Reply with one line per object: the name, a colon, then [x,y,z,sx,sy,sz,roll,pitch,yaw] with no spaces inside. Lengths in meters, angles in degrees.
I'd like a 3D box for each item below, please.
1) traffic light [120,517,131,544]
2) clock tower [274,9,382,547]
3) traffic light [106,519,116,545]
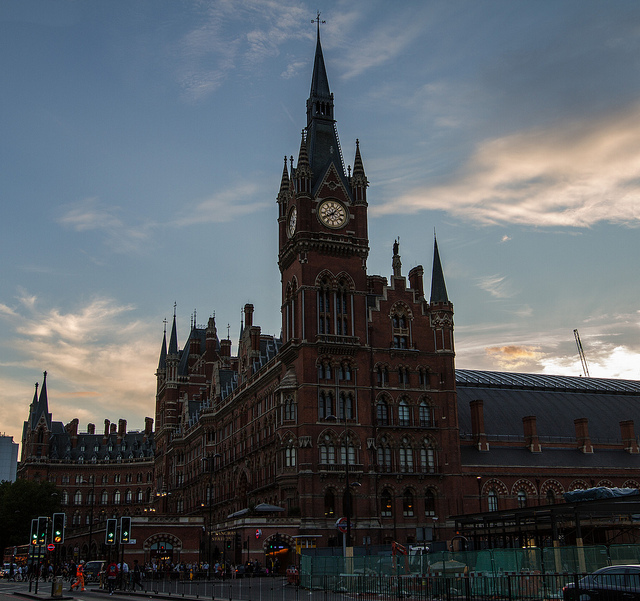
traffic light: [-11.938,14.082,47.050,0.556,1.520,1.033,5,-23,-16]
clock tower: [0.200,-4.005,77.311,8.719,55.085,5.608,-2,-22,1]
traffic light: [-12.535,13.895,46.046,0.493,1.404,1.279,4,-23,-14]
